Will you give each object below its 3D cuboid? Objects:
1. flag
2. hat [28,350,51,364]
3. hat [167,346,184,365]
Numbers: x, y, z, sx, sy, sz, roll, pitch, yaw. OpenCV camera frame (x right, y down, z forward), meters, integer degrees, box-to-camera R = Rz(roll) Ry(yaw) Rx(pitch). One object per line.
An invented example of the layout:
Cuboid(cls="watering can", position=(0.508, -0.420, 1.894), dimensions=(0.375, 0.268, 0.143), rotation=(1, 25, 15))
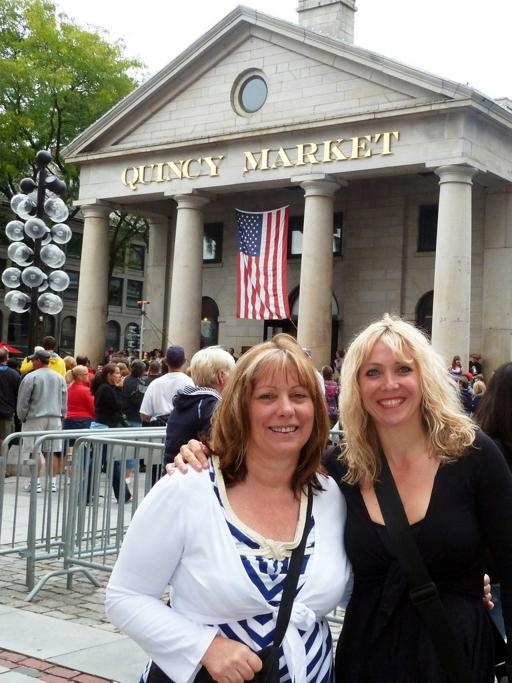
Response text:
Cuboid(cls="flag", position=(0.220, -2.377, 21.357), dimensions=(1.908, 3.337, 0.657), rotation=(2, -3, 28))
Cuboid(cls="hat", position=(-3.619, 0.240, 11.849), dimensions=(0.291, 0.161, 0.208), rotation=(22, 23, 38))
Cuboid(cls="hat", position=(-1.149, 0.220, 10.114), dimensions=(0.239, 0.273, 0.278), rotation=(4, -33, -5))
